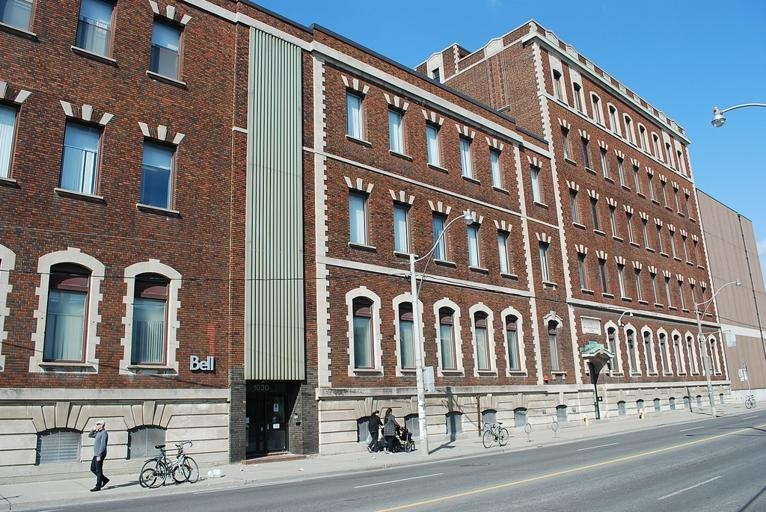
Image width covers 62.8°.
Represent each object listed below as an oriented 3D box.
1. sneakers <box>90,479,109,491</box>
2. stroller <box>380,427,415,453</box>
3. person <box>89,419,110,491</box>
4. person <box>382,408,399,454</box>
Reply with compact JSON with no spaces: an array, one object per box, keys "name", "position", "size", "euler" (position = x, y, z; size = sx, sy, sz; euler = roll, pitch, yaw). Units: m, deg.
[{"name":"sneakers","position":[-10.719,8.651,23.708],"size":[0.243,0.264,0.672],"euler":[3,-2,2]},{"name":"stroller","position":[0.666,9.742,32.933],"size":[1.073,1.338,1.599],"euler":[-17,-38,38]},{"name":"person","position":[-10.929,7.598,24.039],"size":[0.725,2.545,1.014],"euler":[5,-19,-22]},{"name":"person","position":[0.377,8.904,32.183],"size":[0.842,2.188,1.247],"euler":[-2,-17,0]}]
